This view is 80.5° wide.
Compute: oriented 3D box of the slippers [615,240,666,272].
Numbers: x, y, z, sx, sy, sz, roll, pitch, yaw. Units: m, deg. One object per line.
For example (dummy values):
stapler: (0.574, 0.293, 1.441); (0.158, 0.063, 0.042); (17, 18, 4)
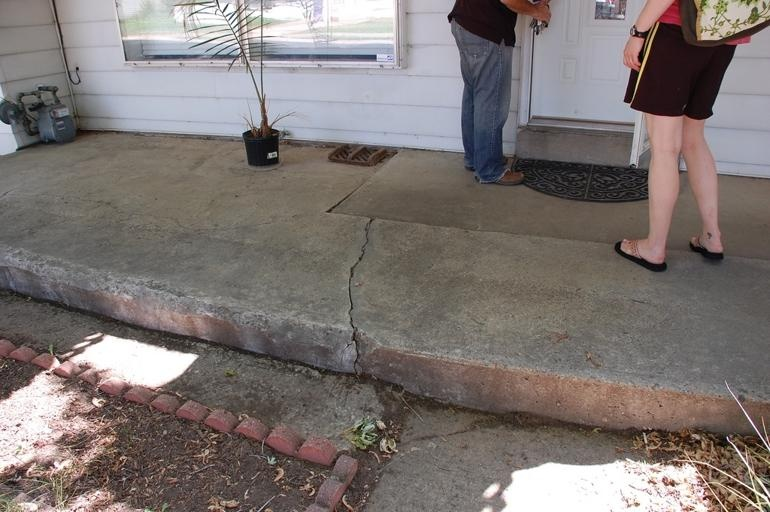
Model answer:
slippers: (1.769, 0.014, 3.221); (0.151, 0.089, 0.336); (-19, 47, -34)

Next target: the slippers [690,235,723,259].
slippers: (2.263, -0.088, 3.232); (0.101, 0.075, 0.238); (-15, 33, 1)

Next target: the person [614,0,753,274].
person: (1.956, -0.768, 2.990); (0.661, 1.630, 0.667); (-8, 31, -9)

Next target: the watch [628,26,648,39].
watch: (1.568, -1.413, 2.849); (0.100, 0.037, 0.099); (13, 10, 2)

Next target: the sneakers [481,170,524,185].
sneakers: (1.174, -0.757, 4.483); (0.323, 0.102, 0.184); (0, 28, 5)
